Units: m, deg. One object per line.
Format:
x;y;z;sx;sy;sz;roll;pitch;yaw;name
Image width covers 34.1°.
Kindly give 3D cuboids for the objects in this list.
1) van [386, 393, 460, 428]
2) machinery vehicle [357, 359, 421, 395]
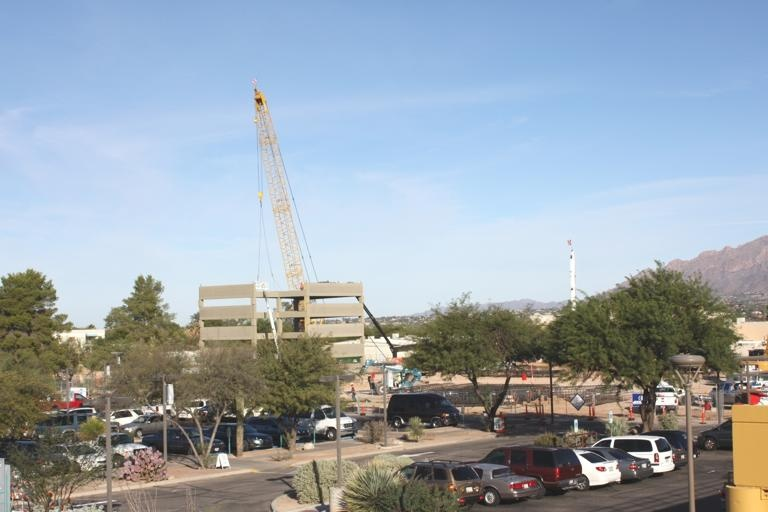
3.356;12.882;106.152;5.819;3.074;1.182;-7;-8;14;van
1.072;13.236;136.766;7.639;3.433;2.424;3;-9;-27;machinery vehicle
